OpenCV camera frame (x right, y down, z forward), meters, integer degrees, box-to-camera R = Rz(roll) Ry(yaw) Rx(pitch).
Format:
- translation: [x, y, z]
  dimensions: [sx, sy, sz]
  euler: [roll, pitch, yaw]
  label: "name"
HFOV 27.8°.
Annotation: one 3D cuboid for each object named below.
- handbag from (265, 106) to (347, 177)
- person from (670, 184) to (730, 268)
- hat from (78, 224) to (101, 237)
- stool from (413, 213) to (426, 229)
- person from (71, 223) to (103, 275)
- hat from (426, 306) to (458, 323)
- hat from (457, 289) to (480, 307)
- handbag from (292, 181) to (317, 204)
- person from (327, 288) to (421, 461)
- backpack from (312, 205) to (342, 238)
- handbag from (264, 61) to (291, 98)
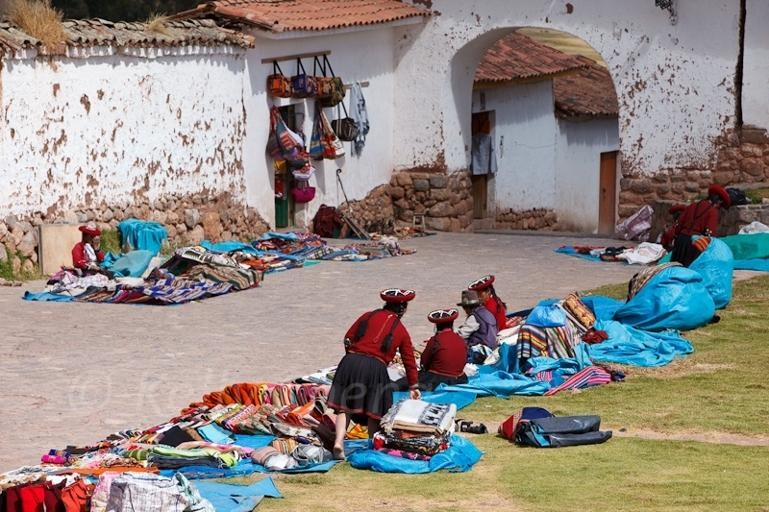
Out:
- translation: [-1.559, -2.143, 29.849]
  dimensions: [0.739, 1.367, 1.523]
  euler: [-1, -1, 26]
  label: "handbag"
- translation: [4.935, -0.497, 24.756]
  dimensions: [0.786, 1.299, 1.107]
  euler: [-1, -1, 29]
  label: "person"
- translation: [-4.717, -0.414, 25.030]
  dimensions: [0.229, 0.065, 0.221]
  euler: [13, 18, -15]
  label: "hat"
- translation: [0.694, -0.753, 32.100]
  dimensions: [0.272, 0.287, 0.281]
  euler: [0, -5, -1]
  label: "stool"
- translation: [-4.762, -0.117, 25.102]
  dimensions: [0.491, 0.786, 0.570]
  euler: [0, -1, -10]
  label: "person"
- translation: [0.786, 0.818, 21.185]
  dimensions: [0.377, 0.171, 0.311]
  euler: [0, -1, -2]
  label: "hat"
- translation: [1.180, 0.595, 22.102]
  dimensions: [0.257, 0.141, 0.243]
  euler: [-2, 5, 10]
  label: "hat"
- translation: [-1.564, -1.234, 29.927]
  dimensions: [0.391, 0.494, 0.214]
  euler: [4, -19, -28]
  label: "handbag"
- translation: [-0.136, 1.498, 20.084]
  dimensions: [1.209, 2.131, 0.707]
  euler: [0, -1, -14]
  label: "person"
- translation: [-1.110, -0.692, 30.306]
  dimensions: [0.582, 0.641, 0.244]
  euler: [0, -1, -4]
  label: "backpack"
- translation: [-2.027, -3.317, 29.245]
  dimensions: [0.372, 0.740, 0.730]
  euler: [0, 4, 11]
  label: "handbag"
